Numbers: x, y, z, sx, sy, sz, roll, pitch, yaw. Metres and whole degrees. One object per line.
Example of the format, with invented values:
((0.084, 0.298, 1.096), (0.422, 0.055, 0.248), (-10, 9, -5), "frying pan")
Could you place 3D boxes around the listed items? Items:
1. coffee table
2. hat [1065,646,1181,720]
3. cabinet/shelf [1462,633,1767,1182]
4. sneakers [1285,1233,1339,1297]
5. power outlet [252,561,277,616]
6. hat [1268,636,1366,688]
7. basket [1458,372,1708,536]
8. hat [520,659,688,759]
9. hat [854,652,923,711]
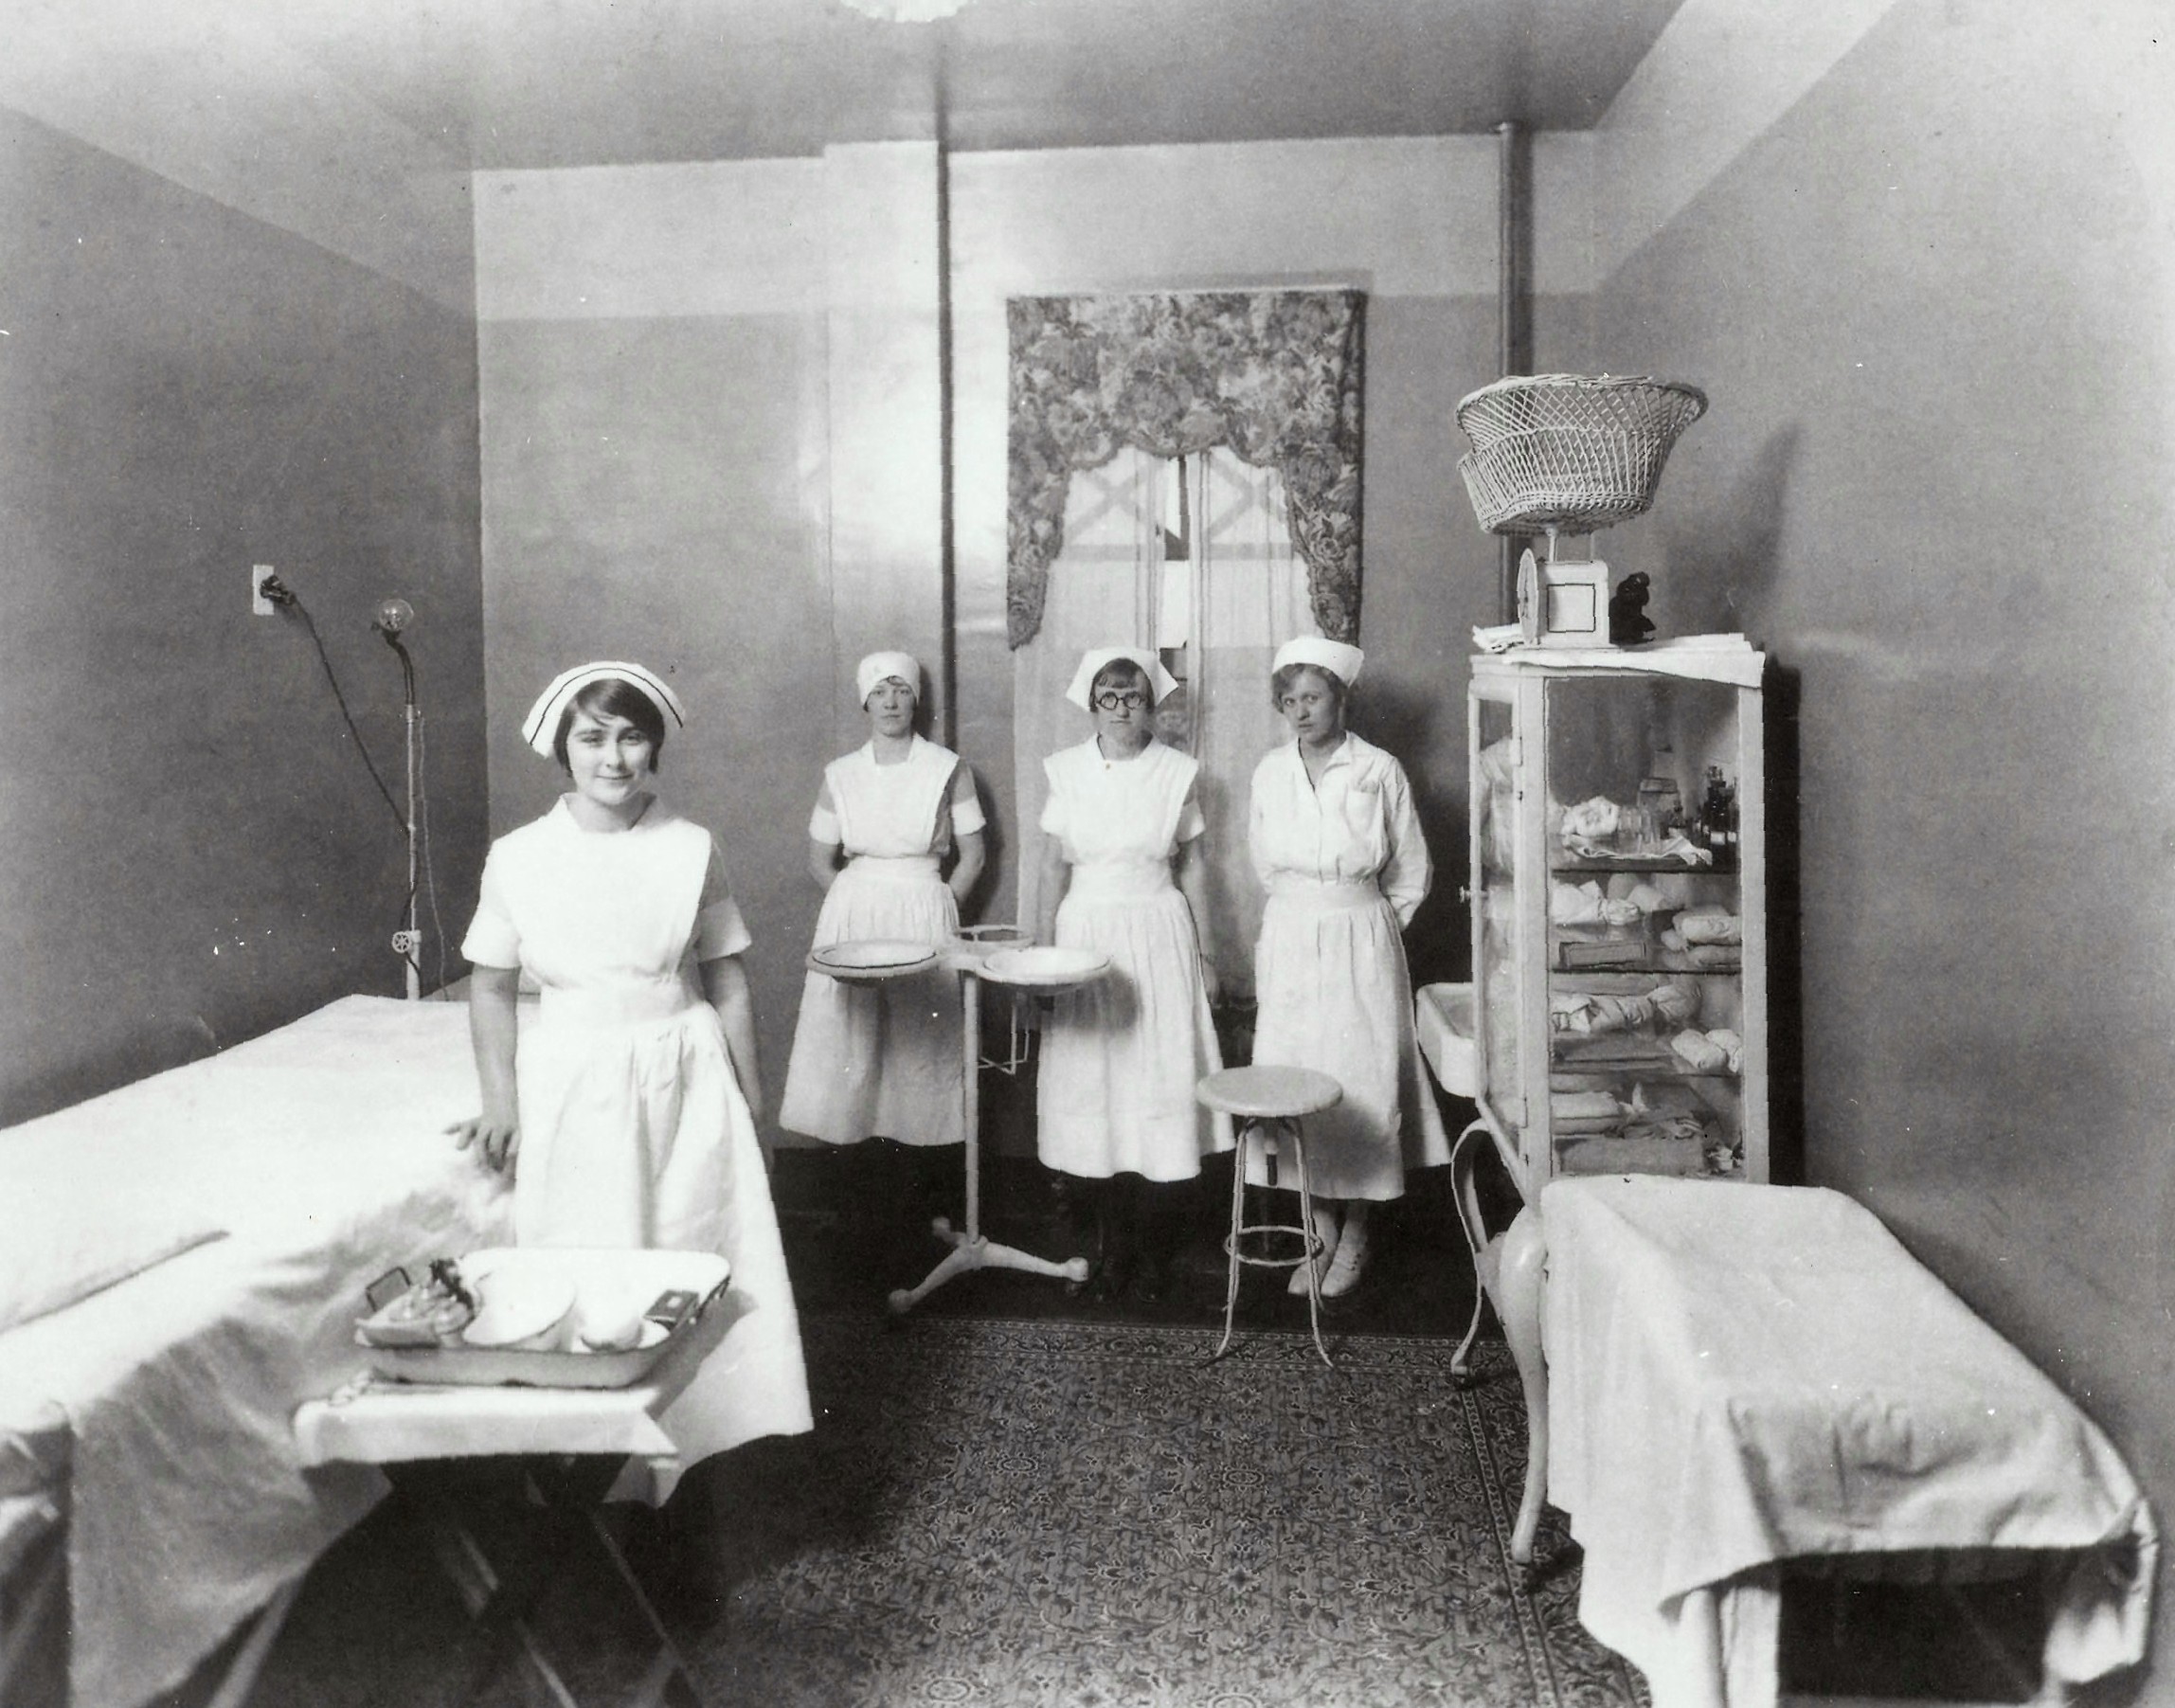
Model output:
((-0.647, 0.681, 2.292), (0.482, 0.496, 0.536), (0, 4, -4), "coffee table")
((0.064, -0.307, 3.226), (0.211, 0.121, 0.120), (-5, 8, -12), "hat")
((0.779, 0.083, 2.827), (0.533, 0.817, 0.372), (2, 9, 34), "cabinet/shelf")
((0.413, 0.739, 3.261), (0.057, 0.076, 0.177), (-8, -10, 34), "sneakers")
((-1.120, -0.359, 2.480), (0.012, 0.058, 0.053), (2, 2, 21), "power outlet")
((0.394, -0.332, 3.134), (0.153, 0.088, 0.091), (-2, 7, 7), "hat")
((0.719, -0.598, 2.710), (0.253, 0.136, 0.278), (0, 8, 3), "basket")
((-0.652, -0.197, 2.470), (0.199, 0.125, 0.203), (-3, 7, -2), "hat")
((-0.338, -0.290, 3.105), (0.071, 0.083, 0.101), (-1, 12, 0), "hat")
